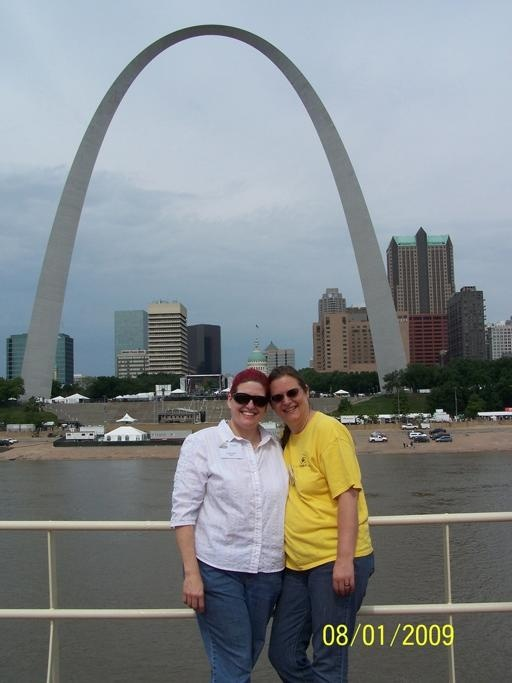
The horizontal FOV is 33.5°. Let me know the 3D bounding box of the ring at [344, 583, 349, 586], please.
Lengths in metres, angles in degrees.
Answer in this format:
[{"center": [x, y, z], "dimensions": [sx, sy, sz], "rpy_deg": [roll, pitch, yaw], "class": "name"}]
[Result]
[{"center": [0.346, 0.927, 3.259], "dimensions": [0.011, 0.009, 0.003], "rpy_deg": [0, -5, 9], "class": "ring"}]
